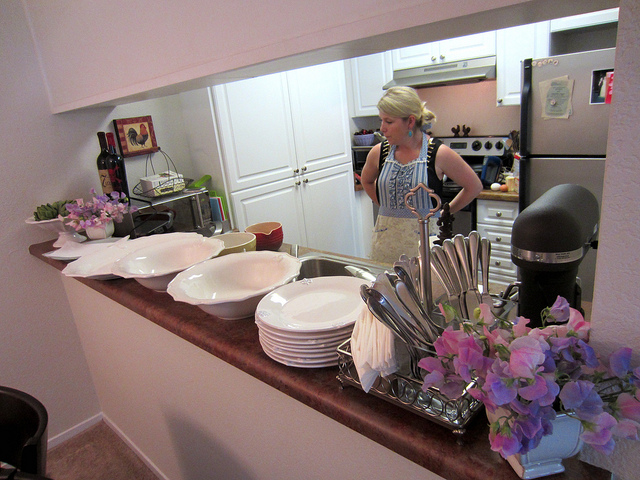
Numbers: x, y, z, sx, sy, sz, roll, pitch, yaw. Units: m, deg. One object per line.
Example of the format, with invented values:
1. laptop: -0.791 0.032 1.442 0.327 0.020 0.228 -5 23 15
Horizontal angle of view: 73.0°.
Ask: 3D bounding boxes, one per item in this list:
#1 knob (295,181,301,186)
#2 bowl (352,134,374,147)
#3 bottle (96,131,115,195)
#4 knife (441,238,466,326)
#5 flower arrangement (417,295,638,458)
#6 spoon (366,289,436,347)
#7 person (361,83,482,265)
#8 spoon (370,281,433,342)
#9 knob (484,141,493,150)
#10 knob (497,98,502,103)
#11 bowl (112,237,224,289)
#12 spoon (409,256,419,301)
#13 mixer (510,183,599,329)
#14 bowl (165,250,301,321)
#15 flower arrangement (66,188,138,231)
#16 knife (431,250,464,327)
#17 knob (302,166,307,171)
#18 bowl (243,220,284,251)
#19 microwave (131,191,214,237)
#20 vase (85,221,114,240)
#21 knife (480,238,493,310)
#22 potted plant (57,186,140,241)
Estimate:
1. knob: -0.167 -0.444 3.379 0.029 0.031 0.029 12 -12 -42
2. bowl: 0.422 -0.949 4.161 0.128 0.076 0.130 -4 18 1
3. bottle: -1.091 -0.388 2.194 0.079 0.312 0.211 -14 20 -24
4. knife: 0.279 0.083 0.875 0.043 0.169 0.019 -15 6 -44
5. flower arrangement: 0.315 0.209 0.780 0.367 0.243 0.281 -1 13 -26
6. spoon: 0.145 0.148 0.802 0.016 0.149 0.017 -41 12 22
7. person: 0.534 -0.351 2.349 0.632 0.930 0.429 -3 19 10
8. spoon: 0.148 0.136 0.804 0.015 0.139 0.019 -38 11 27
9. knob: 1.368 -0.768 3.506 0.057 0.063 0.023 2 20 22
10. knob: 1.328 -1.029 3.201 0.014 0.027 0.026 9 -6 -42
11. bowl: -0.551 0.063 1.563 0.309 0.202 0.343 18 21 40
12. spoon: 0.197 0.079 0.904 0.020 0.078 0.014 -1 -13 1
13. mixer: 0.522 0.056 0.960 0.307 0.340 0.130 -22 24 -40
14. bowl: -0.261 0.147 1.309 0.391 0.143 0.378 -4 16 1
15. flower arrangement: -1.020 -0.135 2.003 0.257 0.161 0.150 -13 19 -19
16. knife: 0.259 0.096 0.873 0.019 0.163 0.012 -15 -8 -5
17. knob: -0.117 -0.565 3.415 0.011 0.036 0.054 4 21 28
18. bowl: -0.214 -0.005 1.822 0.132 0.112 0.151 -17 5 20
19. microwave: -0.849 -0.113 2.460 0.301 0.208 0.547 -5 18 4
20. vase: -1.017 -0.038 2.018 0.092 0.073 0.091 -4 24 -4
21. knife: 0.340 0.080 0.890 0.037 0.166 0.023 -9 9 -36
22. potted plant: -1.047 -0.091 2.038 0.302 0.220 0.260 -5 18 -25
